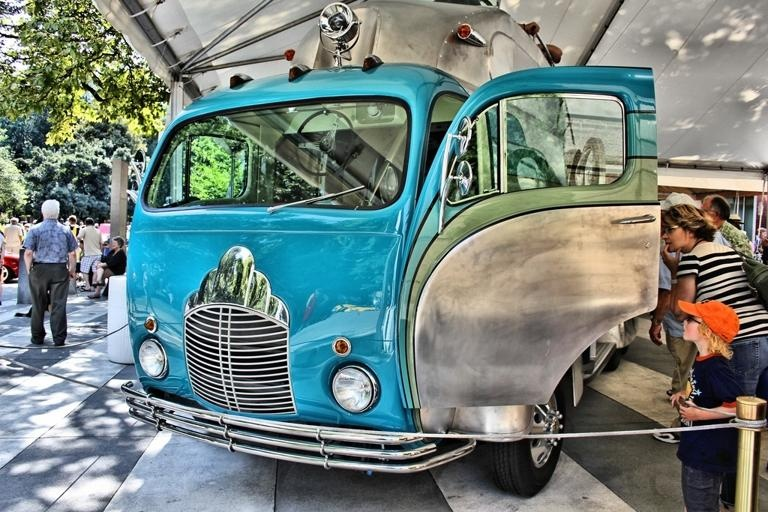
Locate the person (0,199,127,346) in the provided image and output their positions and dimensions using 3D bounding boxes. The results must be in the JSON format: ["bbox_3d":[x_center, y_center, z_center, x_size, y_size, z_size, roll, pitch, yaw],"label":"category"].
[{"bbox_3d":[-5.496,0.298,8.353,0.741,2.355,0.729,-7,12,-39],"label":"person"}]

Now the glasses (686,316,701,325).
[{"bbox_3d":[2.338,0.481,3.813,0.115,0.050,0.073,2,7,43],"label":"glasses"}]

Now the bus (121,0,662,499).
[{"bbox_3d":[1.018,0.127,5.734,3.769,2.997,5.373,-1,-2,31],"label":"bus"}]

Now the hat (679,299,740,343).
[{"bbox_3d":[2.467,0.416,3.824,0.432,0.214,0.296,28,22,19],"label":"hat"}]

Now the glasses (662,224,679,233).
[{"bbox_3d":[2.631,-0.263,4.618,0.081,0.055,0.090,1,-7,-2],"label":"glasses"}]

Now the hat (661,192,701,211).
[{"bbox_3d":[2.780,-0.521,4.771,0.236,0.121,0.351,0,-2,11],"label":"hat"}]
